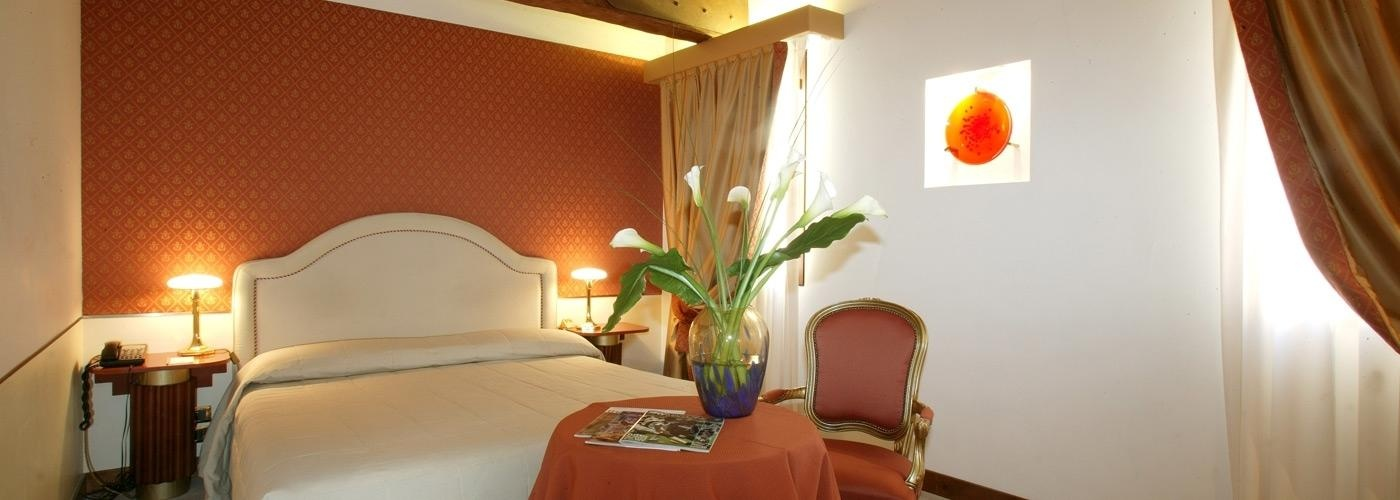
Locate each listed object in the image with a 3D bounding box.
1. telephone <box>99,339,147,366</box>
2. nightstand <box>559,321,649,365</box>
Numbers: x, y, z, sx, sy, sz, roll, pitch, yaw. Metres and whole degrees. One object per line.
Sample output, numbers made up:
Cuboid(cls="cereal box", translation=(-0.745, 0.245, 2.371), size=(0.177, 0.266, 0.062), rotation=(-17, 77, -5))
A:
Cuboid(cls="telephone", translation=(-7.066, 1.291, 8.821), size=(0.454, 0.157, 0.406), rotation=(-4, 31, -21))
Cuboid(cls="nightstand", translation=(-1.402, 1.291, 10.435), size=(1.025, 0.693, 0.916), rotation=(-2, 7, -30))
